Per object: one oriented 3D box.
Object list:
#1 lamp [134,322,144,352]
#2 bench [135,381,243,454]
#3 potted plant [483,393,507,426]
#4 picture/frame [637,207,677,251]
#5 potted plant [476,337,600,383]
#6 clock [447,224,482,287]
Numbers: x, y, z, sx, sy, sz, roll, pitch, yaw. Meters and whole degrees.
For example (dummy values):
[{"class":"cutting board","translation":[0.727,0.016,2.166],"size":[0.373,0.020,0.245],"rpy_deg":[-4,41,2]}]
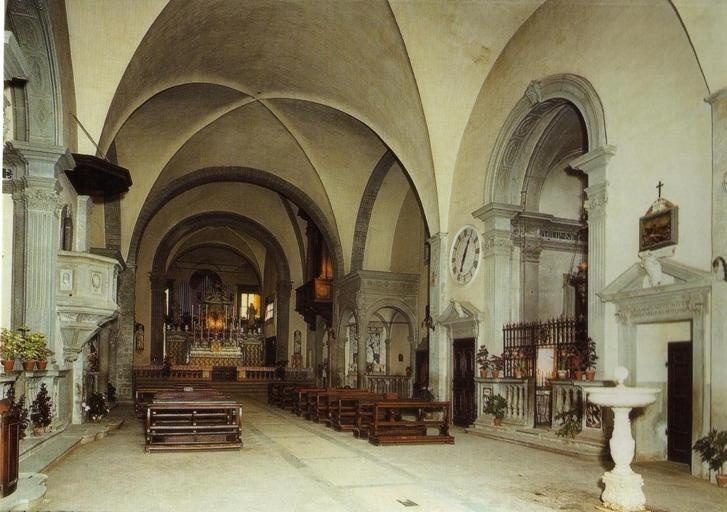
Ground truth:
[{"class":"lamp","translation":[-10.653,3.909,33.596],"size":[0.413,1.266,0.450],"rpy_deg":[4,-9,-22]},{"class":"bench","translation":[-3.827,3.715,15.918],"size":[1.903,1.128,3.345],"rpy_deg":[3,-11,-14]},{"class":"potted plant","translation":[3.320,3.855,17.674],"size":[0.399,0.766,0.518],"rpy_deg":[6,-10,-29]},{"class":"picture/frame","translation":[5.807,-0.545,13.896],"size":[0.137,0.865,0.799],"rpy_deg":[7,-8,-19]},{"class":"potted plant","translation":[3.975,2.506,16.854],"size":[2.454,0.923,3.977],"rpy_deg":[-1,-11,8]},{"class":"clock","translation":[2.856,-0.017,19.711],"size":[0.107,1.520,1.473],"rpy_deg":[7,-16,-19]}]
